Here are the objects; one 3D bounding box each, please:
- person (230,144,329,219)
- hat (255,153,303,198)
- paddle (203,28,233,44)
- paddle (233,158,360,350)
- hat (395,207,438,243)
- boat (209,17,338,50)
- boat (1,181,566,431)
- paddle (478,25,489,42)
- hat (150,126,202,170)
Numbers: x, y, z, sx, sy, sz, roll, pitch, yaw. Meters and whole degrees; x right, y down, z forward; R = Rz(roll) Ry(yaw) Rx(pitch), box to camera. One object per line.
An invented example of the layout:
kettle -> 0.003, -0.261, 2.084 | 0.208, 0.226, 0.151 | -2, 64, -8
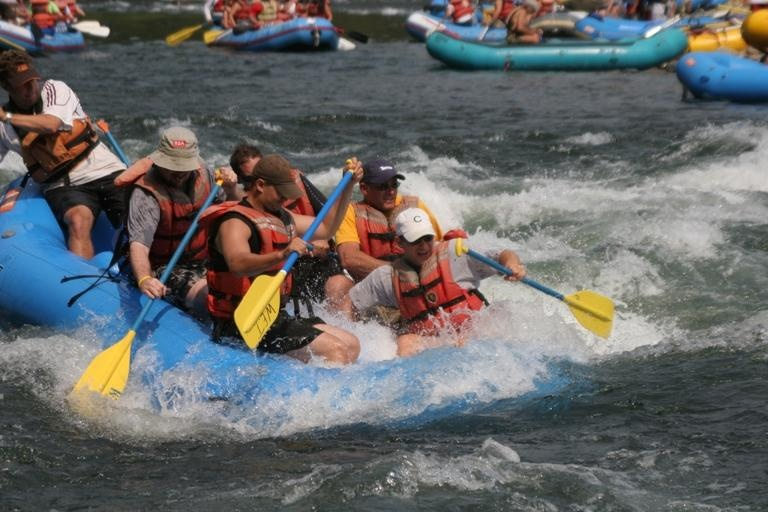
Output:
person -> -1.238, -1.107, 12.281 | 0.984, 0.269, 0.588 | -3, 41, 49
hat -> -1.061, -0.776, 10.451 | 0.538, 0.502, 0.225 | 10, 30, 16
paddle -> -4.382, -5.696, 26.589 | 0.804, 0.236, 0.416 | -7, 42, 18
paddle -> -0.944, 0.052, 10.878 | 0.129, 0.584, 2.678 | -8, 37, 50
hat -> 0.315, -0.361, 10.883 | 0.467, 0.293, 0.596 | -6, 25, -7
boat -> -2.581, -5.422, 25.631 | 2.398, 0.473, 1.160 | -1, 7, 37
boat -> -1.490, 0.662, 10.590 | 4.901, 0.765, 2.381 | 8, 17, 13
paddle -> 2.396, -5.324, 24.424 | 0.161, 0.139, 0.586 | -5, 43, 29
hat -> -2.224, -1.162, 11.014 | 0.501, 0.251, 0.504 | 3, 18, -11
